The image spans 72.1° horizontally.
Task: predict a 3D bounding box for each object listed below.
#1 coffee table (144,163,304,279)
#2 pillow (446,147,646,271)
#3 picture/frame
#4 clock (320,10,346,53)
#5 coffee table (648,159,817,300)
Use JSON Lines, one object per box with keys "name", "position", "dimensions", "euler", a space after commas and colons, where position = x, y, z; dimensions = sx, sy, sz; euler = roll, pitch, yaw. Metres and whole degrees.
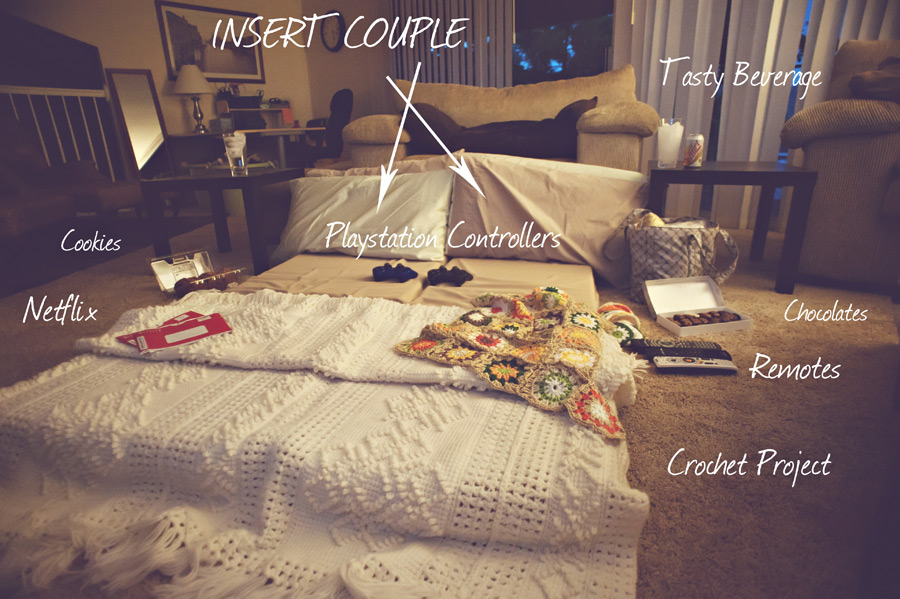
{"name": "coffee table", "position": [-1.383, -0.469, 4.100], "dimensions": [0.854, 0.641, 0.840], "euler": [6, 21, 16]}
{"name": "pillow", "position": [0.453, -0.463, 3.127], "dimensions": [0.789, 0.261, 0.596], "euler": [6, 57, 5]}
{"name": "picture/frame", "position": [-2.284, -2.406, 5.744], "dimensions": [0.035, 0.723, 1.067], "euler": [13, 17, 42]}
{"name": "clock", "position": [-1.230, -2.806, 6.465], "dimensions": [0.299, 0.390, 0.066], "euler": [4, 22, 10]}
{"name": "coffee table", "position": [1.489, -0.426, 3.545], "dimensions": [0.836, 0.729, 0.818], "euler": [3, 35, 8]}
